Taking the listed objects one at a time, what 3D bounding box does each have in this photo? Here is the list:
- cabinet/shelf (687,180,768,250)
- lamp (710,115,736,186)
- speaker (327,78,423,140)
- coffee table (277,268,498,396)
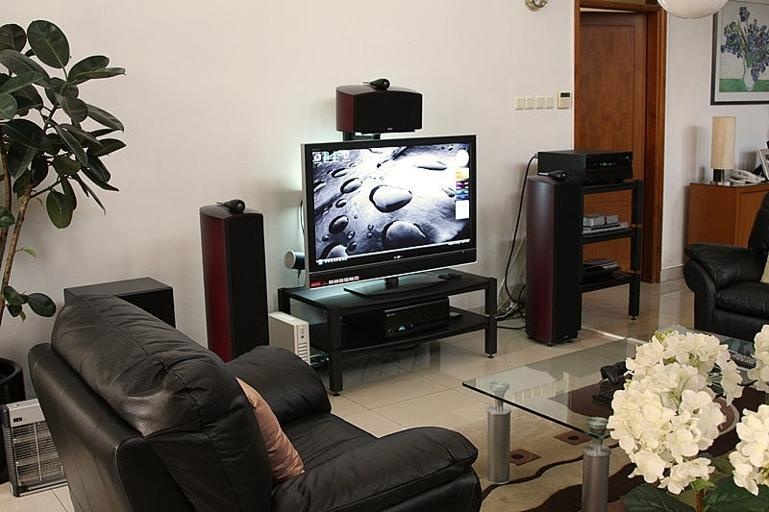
[{"bbox_3d":[3.391,-0.409,5.911,0.684,0.645,0.362,-6,18,-18],"label":"cabinet/shelf"},{"bbox_3d":[3.547,-1.118,6.334,0.211,0.686,0.259,4,16,26],"label":"lamp"},{"bbox_3d":[-0.028,-1.067,4.353,0.631,0.405,0.245,-4,14,-5],"label":"speaker"},{"bbox_3d":[0.024,0.465,4.344,1.341,0.573,0.887,-9,21,-27],"label":"coffee table"}]
